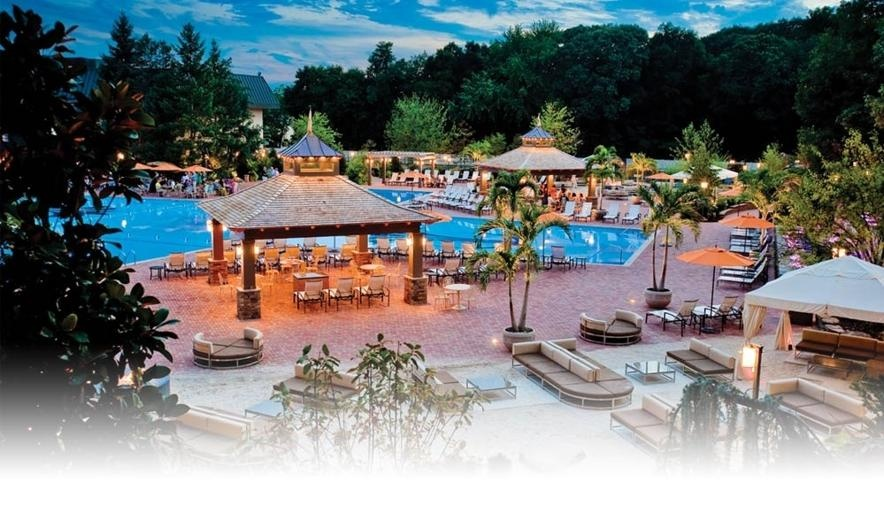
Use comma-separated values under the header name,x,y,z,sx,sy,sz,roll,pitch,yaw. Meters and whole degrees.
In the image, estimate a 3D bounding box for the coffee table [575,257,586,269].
name,x,y,z,sx,sy,sz,roll,pitch,yaw
coffee table,6.569,0.329,26.831,0.666,0.523,0.560,-1,2,-3

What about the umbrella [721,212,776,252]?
name,x,y,z,sx,sy,sz,roll,pitch,yaw
umbrella,15.774,-1.156,29.066,2.866,1.788,2.561,-1,8,-1
